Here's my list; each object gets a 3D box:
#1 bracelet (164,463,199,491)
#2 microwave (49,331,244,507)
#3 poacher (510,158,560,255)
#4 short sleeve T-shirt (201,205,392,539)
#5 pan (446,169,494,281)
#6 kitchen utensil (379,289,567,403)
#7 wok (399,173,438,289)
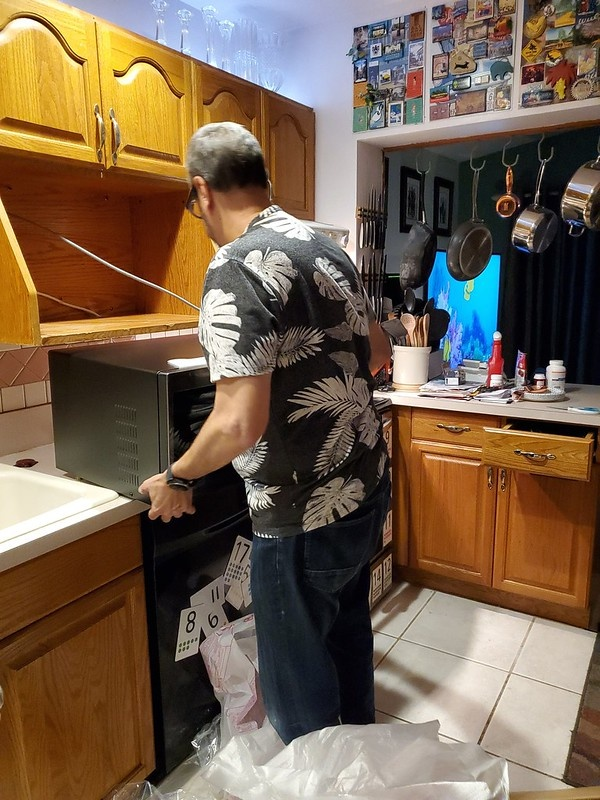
[{"bbox_3d":[-0.217,0.141,1.032,0.047,0.052,0.034,-33,63,-22],"label":"bracelet"},{"bbox_3d":[-0.371,-0.001,1.402,0.360,0.298,0.369,6,14,27],"label":"microwave"},{"bbox_3d":[0.961,-0.806,2.273,0.108,0.375,0.162,30,32,22],"label":"poacher"},{"bbox_3d":[-0.010,-0.045,1.049,0.204,0.601,0.436,4,9,36],"label":"short sleeve T-shirt"},{"bbox_3d":[0.698,-0.720,2.439,0.248,0.480,0.063,-10,16,-42],"label":"pan"},{"bbox_3d":[0.714,-0.245,2.447,0.662,0.438,0.490,1,8,18],"label":"kitchen utensil"},{"bbox_3d":[0.541,-0.771,2.562,0.145,0.561,0.325,1,7,17],"label":"wok"}]
